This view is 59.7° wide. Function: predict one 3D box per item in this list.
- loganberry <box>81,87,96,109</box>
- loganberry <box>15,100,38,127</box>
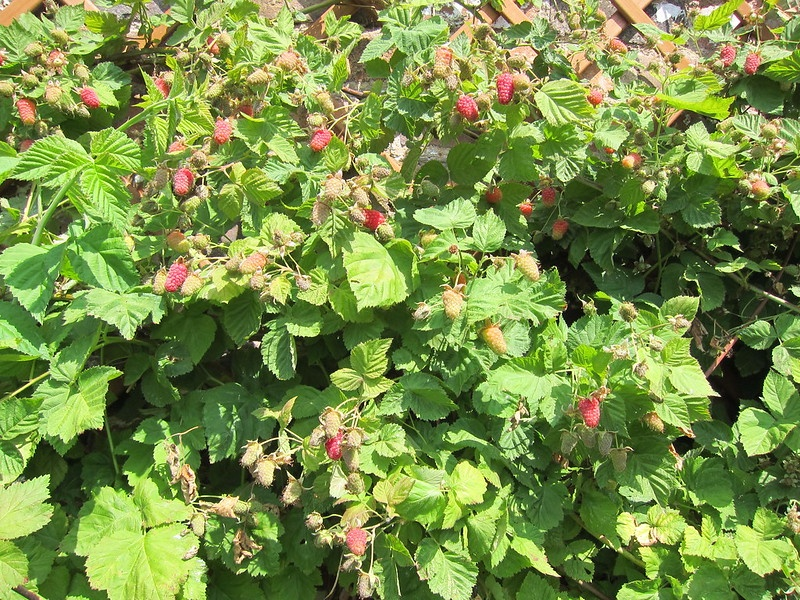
[{"bbox_3d":[-1.188,-0.770,2.672,0.065,0.067,0.060,-8,29,-26],"label":"loganberry"},{"bbox_3d":[-1.428,-0.715,2.668,0.067,0.089,0.066,-7,28,-23],"label":"loganberry"}]
